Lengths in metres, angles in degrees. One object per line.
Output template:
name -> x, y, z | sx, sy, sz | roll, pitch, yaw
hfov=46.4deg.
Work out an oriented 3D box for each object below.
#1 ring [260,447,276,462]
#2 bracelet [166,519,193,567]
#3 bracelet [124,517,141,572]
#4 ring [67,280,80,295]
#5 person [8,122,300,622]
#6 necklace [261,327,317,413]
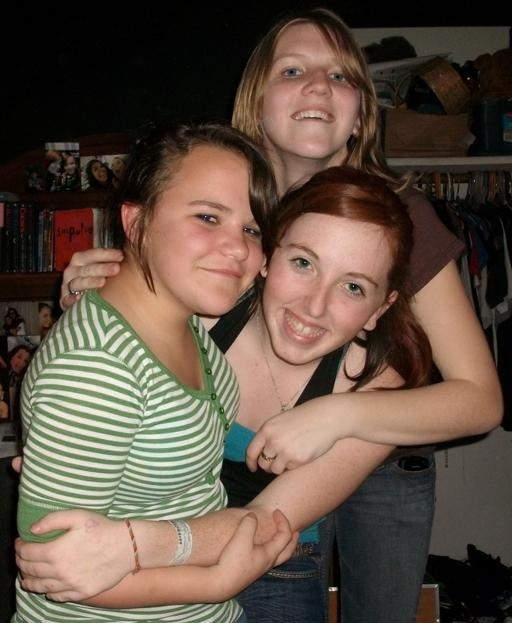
ring -> 0.030, 0.340, 1.417 | 0.017, 0.032, 0.030 | 3, -6, -7
bracelet -> -0.141, 0.452, 1.171 | 0.033, 0.071, 0.061 | -4, 0, -21
bracelet -> -0.226, 0.435, 1.099 | 0.027, 0.099, 0.028 | 0, -1, -9
ring -> -0.430, -0.047, 1.401 | 0.020, 0.029, 0.042 | -4, 5, -26
person -> -0.209, 0.146, 1.254 | 0.586, 1.134, 0.289 | 1, -2, -41
necklace -> 0.091, 0.162, 1.676 | 0.155, 0.206, 0.054 | 21, -13, 18
